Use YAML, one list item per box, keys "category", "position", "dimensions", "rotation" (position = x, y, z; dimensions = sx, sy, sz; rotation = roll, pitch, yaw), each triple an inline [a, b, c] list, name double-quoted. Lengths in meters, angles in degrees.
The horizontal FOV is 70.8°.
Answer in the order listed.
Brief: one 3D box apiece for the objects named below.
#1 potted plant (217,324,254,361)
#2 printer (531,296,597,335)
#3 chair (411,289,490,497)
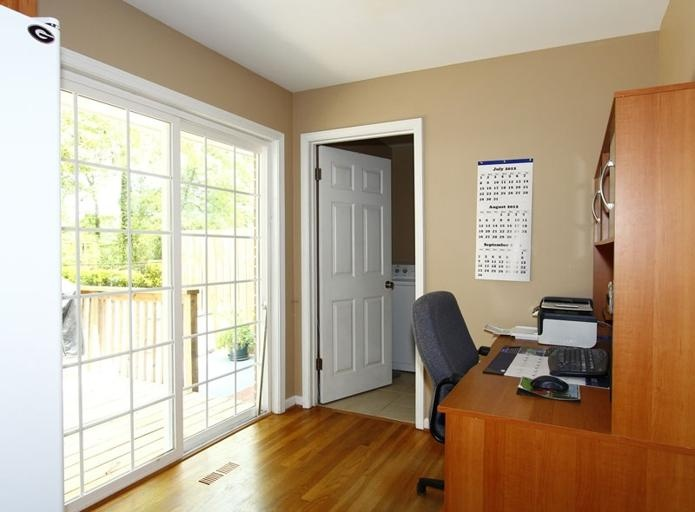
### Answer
- category: "potted plant"
  position: [-0.845, 0.645, 3.704]
  dimensions: [0.235, 0.240, 0.232]
  rotation: [-3, 6, -32]
- category: "printer"
  position: [1.308, 0.313, 2.926]
  dimensions: [0.282, 0.213, 0.374]
  rotation: [7, 3, 18]
- category: "chair"
  position: [0.474, 0.728, 2.710]
  dimensions: [0.469, 1.050, 0.536]
  rotation: [6, 6, 18]
